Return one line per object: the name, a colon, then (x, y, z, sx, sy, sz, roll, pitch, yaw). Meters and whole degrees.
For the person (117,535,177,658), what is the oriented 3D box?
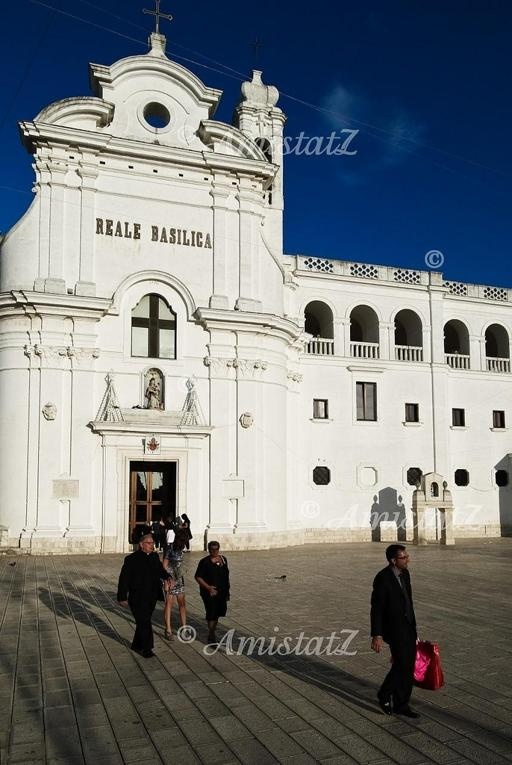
person: (-1.479, 2.764, 10.339, 0.629, 1.498, 1.440, 1, -7, -6)

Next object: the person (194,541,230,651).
person: (-0.620, 2.873, 10.796, 0.452, 1.393, 1.142, 1, -7, -4)

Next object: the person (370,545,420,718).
person: (1.352, 2.454, 7.785, 0.583, 1.613, 0.527, 3, -8, -15)

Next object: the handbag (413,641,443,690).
handbag: (1.697, 2.809, 7.717, 0.269, 0.476, 0.264, -1, -8, 11)

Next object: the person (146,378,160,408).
person: (-3.283, 0.347, 25.341, 0.321, 1.057, 0.574, -5, -9, 35)
